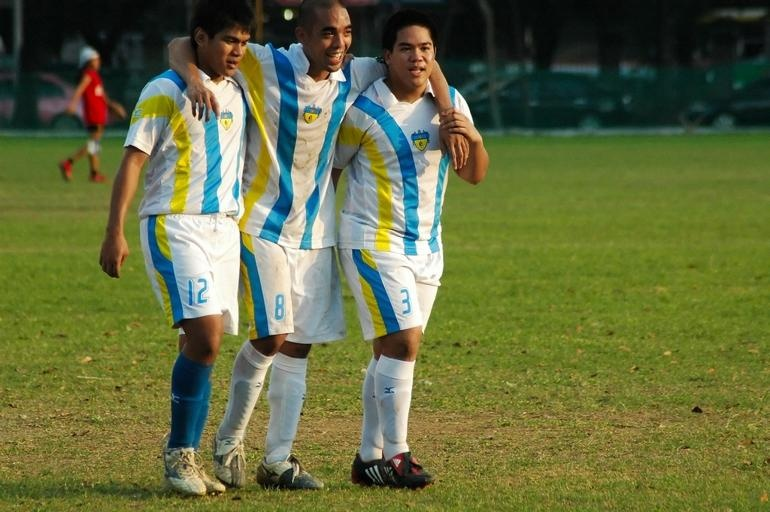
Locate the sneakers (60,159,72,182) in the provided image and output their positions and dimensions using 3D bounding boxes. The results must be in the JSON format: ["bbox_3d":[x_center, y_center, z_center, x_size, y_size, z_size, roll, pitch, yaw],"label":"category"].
[{"bbox_3d":[-5.657,-1.508,25.476,0.188,0.412,0.140,-10,8,11],"label":"sneakers"}]
